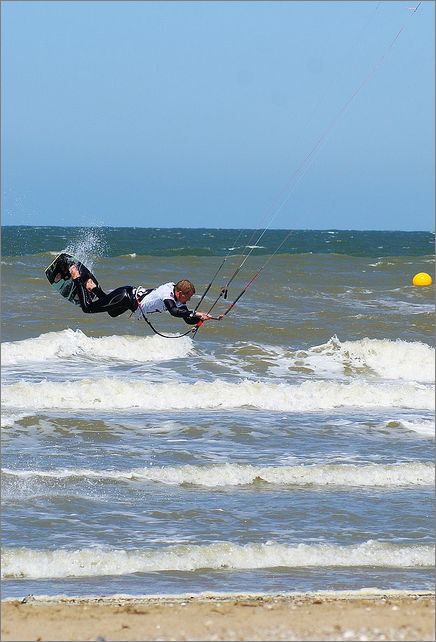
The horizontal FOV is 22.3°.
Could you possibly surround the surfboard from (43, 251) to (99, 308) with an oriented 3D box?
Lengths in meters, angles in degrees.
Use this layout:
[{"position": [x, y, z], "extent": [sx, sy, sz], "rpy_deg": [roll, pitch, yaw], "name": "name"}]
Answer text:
[{"position": [-2.156, -0.628, 15.469], "extent": [1.072, 0.501, 0.191], "rpy_deg": [34, 11, 26], "name": "surfboard"}]
